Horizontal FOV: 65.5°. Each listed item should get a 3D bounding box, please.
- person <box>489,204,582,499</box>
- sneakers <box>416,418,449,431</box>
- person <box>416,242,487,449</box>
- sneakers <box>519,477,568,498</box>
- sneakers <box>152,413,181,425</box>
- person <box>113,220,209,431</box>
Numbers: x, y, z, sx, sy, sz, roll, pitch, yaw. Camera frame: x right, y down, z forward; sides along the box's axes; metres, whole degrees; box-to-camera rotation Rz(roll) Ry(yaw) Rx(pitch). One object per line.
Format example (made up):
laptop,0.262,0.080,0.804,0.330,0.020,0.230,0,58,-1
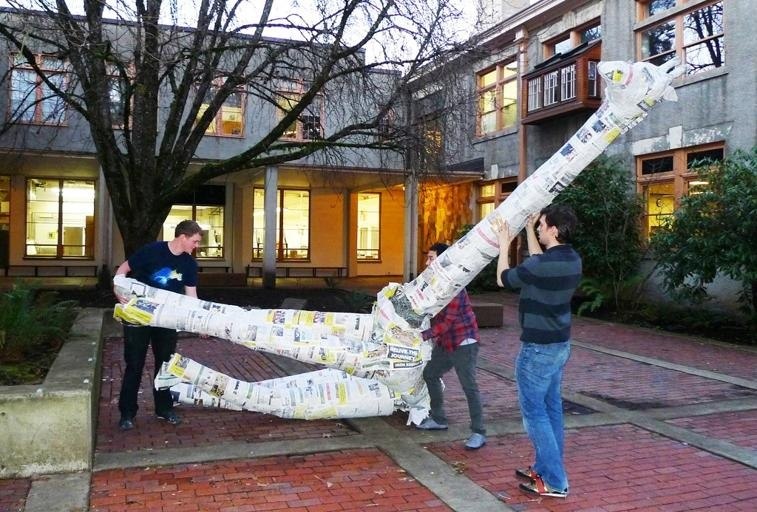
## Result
person,1.549,0.916,5.847,0.775,2.819,0.614,3,7,16
sneakers,0.625,2.044,7.071,0.401,0.149,0.138,3,-5,0
person,0.868,1.250,6.795,0.819,1.755,0.670,4,7,23
sneakers,1.573,2.275,5.710,0.456,0.159,0.170,2,-3,9
sneakers,-2.554,1.968,7.105,0.346,0.123,0.122,0,-2,24
person,-2.583,0.798,6.957,0.954,2.418,0.636,-1,7,-22
